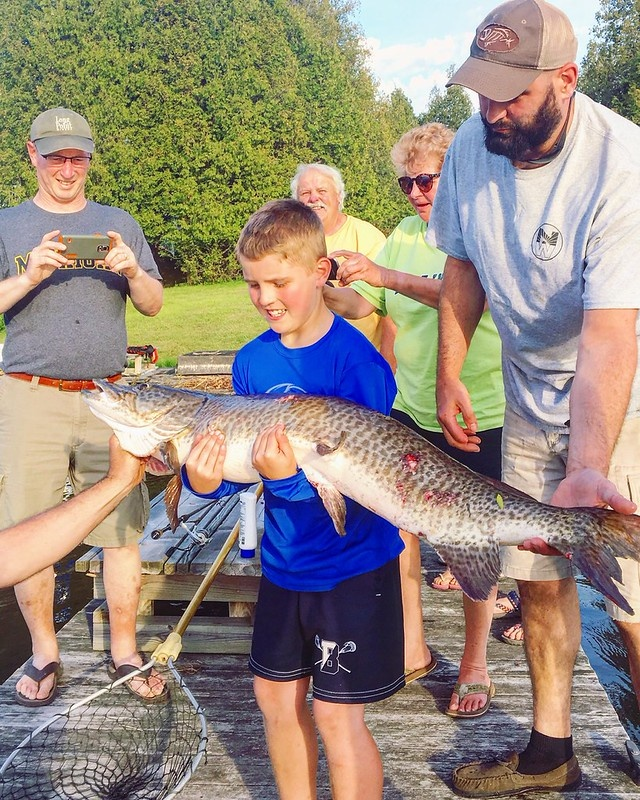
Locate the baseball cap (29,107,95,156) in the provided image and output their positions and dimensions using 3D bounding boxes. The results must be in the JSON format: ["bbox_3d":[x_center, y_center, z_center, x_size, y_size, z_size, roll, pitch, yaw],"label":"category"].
[{"bbox_3d":[-1.406,-1.482,4.138,0.306,0.197,0.403,-7,28,-29],"label":"baseball cap"}]

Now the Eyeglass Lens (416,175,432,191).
[{"bbox_3d":[0.558,-1.179,4.062,0.098,0.039,0.099,2,-4,17],"label":"Eyeglass Lens"}]

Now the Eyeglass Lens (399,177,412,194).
[{"bbox_3d":[0.474,-1.215,4.200,0.051,0.105,0.110,-12,-6,1],"label":"Eyeglass Lens"}]

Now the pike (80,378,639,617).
[{"bbox_3d":[0.081,0.269,2.375,1.729,0.569,0.404,5,11,32],"label":"pike"}]

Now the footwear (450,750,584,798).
[{"bbox_3d":[0.704,1.396,2.889,0.554,0.163,0.173,0,-5,3],"label":"footwear"}]
